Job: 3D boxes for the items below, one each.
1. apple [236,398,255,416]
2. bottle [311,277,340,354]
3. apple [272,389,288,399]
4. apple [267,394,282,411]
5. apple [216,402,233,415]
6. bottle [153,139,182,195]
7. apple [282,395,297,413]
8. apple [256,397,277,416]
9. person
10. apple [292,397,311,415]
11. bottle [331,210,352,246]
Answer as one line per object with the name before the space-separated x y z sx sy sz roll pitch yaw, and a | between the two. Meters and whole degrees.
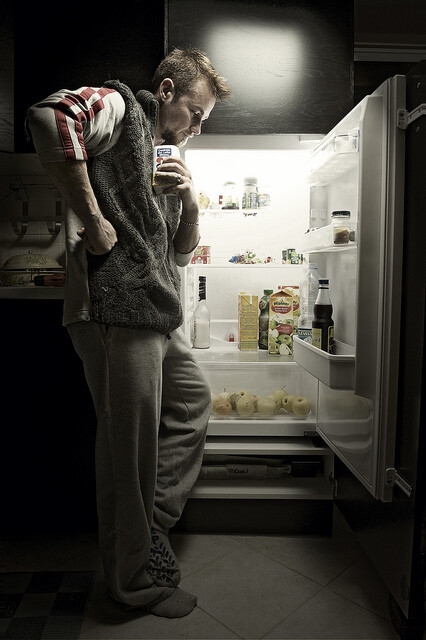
apple | 0.124 0.296 1.835 0.059 0.070 0.061 9 14 21
bottle | 0.338 -0.015 1.576 0.065 0.222 0.177 0 3 12
apple | 0.251 0.276 1.932 0.034 0.042 0.034 1 -1 14
apple | 0.225 0.301 1.890 0.051 0.055 0.045 -5 -11 4
apple | 0.038 0.305 1.825 0.045 0.045 0.044 -2 12 -41
bottle | -0.120 -0.382 1.265 0.079 0.120 0.065 1 3 20
apple | 0.275 0.304 1.875 0.053 0.054 0.063 1 4 29
apple | 0.191 0.303 1.811 0.059 0.045 0.058 -2 0 -35
person | -0.184 0.078 1.363 0.307 1.337 0.678 1 3 23
apple | 0.314 0.306 1.815 0.057 0.058 0.059 -1 9 17
bottle | 0.356 -0.256 1.416 0.051 0.099 0.121 1 3 14
